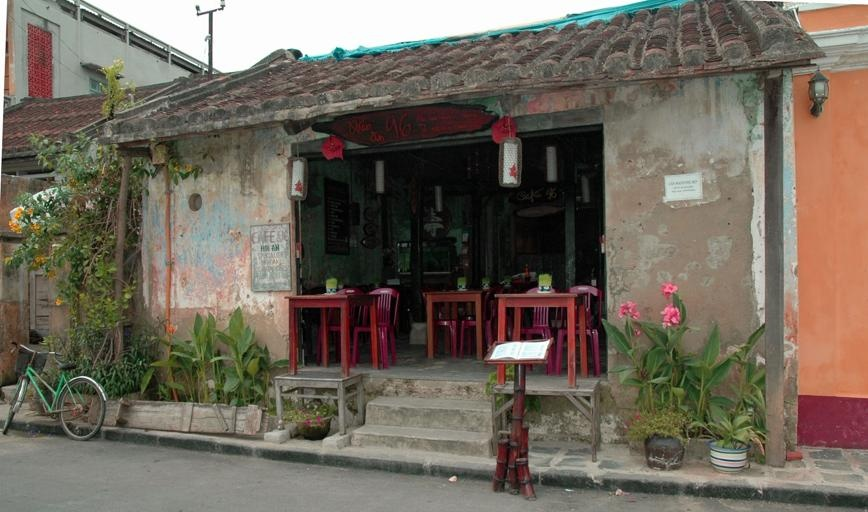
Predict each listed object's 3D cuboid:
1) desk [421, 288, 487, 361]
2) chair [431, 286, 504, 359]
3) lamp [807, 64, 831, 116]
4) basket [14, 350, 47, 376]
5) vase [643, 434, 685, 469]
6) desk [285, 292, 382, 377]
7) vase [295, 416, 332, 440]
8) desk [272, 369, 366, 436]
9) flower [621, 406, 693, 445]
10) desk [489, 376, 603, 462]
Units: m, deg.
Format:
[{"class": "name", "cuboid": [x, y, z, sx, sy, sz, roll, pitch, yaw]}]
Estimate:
[{"class": "desk", "cuboid": [0.325, 1.233, 15.047, 1.206, 1.119, 1.190, -2, -6, 11]}, {"class": "chair", "cuboid": [0.431, 1.223, 15.262, 1.191, 1.094, 1.177, -1, -5, 14]}, {"class": "lamp", "cuboid": [5.673, -2.443, 12.424, 0.267, 0.691, 0.347, -2, -6, 23]}, {"class": "basket", "cuboid": [-6.739, 1.789, 14.127, 0.535, 0.363, 0.190, 7, -2, -6]}, {"class": "vase", "cuboid": [3.272, 2.710, 12.086, 0.667, 0.618, 0.658, -1, 3, 10]}, {"class": "desk", "cuboid": [-1.656, 1.287, 13.854, 1.375, 1.272, 1.366, -3, -7, 20]}, {"class": "vase", "cuboid": [-1.848, 2.672, 13.136, 0.413, 0.229, 0.406, -1, -10, 5]}, {"class": "desk", "cuboid": [-1.818, 2.268, 13.391, 1.283, 0.799, 0.741, -2, 4, 29]}, {"class": "flower", "cuboid": [3.270, 2.363, 12.050, 0.643, 0.344, 0.639, -2, 1, 44]}, {"class": "desk", "cuboid": [1.849, 2.438, 12.580, 1.495, 1.161, 1.019, 0, 0, 22]}]
